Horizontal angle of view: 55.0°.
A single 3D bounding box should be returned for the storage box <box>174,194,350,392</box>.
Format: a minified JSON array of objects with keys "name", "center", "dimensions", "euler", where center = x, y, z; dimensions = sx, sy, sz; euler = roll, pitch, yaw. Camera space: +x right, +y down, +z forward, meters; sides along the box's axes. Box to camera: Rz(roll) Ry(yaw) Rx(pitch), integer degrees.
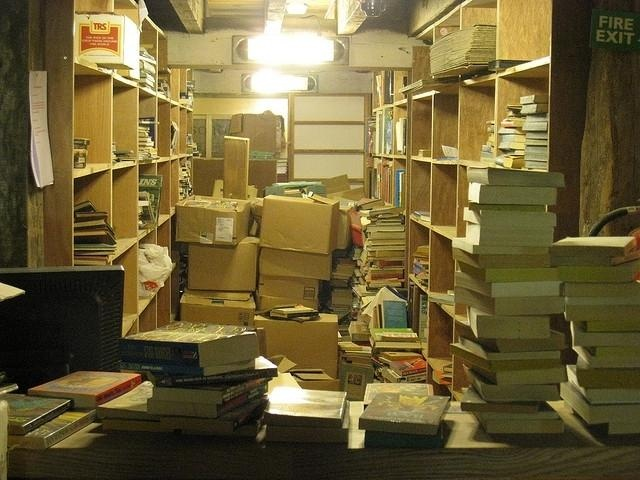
[{"name":"storage box","center":[-0.382,0.251,5.360],"dimensions":[1.965,1.744,1.327],"euler":[2,0,-1]}]
